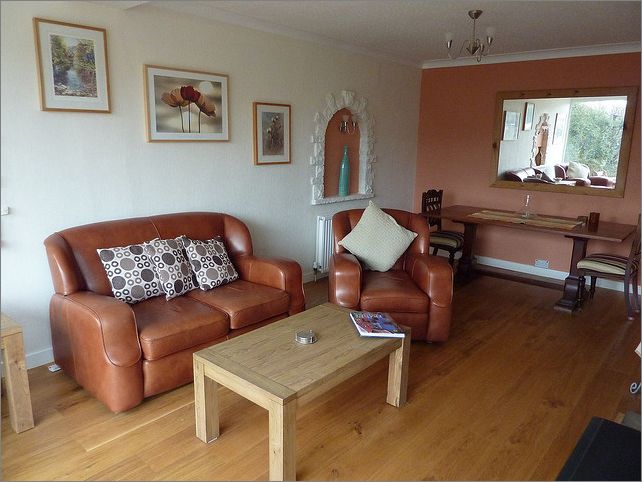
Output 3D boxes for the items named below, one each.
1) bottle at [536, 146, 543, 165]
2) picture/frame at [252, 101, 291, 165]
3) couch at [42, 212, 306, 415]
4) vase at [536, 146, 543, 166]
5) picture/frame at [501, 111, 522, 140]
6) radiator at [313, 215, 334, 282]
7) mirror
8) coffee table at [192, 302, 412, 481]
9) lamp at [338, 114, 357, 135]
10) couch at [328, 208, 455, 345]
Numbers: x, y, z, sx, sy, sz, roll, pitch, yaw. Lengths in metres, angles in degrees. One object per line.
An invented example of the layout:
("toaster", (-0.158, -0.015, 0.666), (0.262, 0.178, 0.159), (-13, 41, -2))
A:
("bottle", (2.803, -1.091, 5.876), (0.066, 0.216, 0.086), (5, 3, 37))
("picture/frame", (-0.529, -1.148, 4.801), (0.056, 0.764, 0.629), (11, 15, 42))
("couch", (-1.149, 0.394, 3.821), (1.250, 1.027, 1.852), (14, 18, 34))
("vase", (2.803, -1.092, 5.873), (0.067, 0.219, 0.087), (5, 3, 37))
("picture/frame", (2.509, -1.524, 6.010), (0.341, 0.467, 0.049), (10, 20, 43))
("radiator", (0.028, 0.050, 5.354), (0.097, 0.658, 0.702), (8, 13, 30))
("mirror", (3.071, -1.243, 5.651), (1.419, 1.178, 0.052), (12, 16, 35))
("coffee table", (-0.165, 0.747, 2.856), (0.855, 0.616, 1.352), (12, 18, 41))
("lamp", (0.361, -1.468, 5.799), (0.274, 0.264, 0.222), (-8, 8, -43))
("couch", (0.516, 0.265, 4.451), (1.110, 1.256, 1.248), (0, 7, 1))
